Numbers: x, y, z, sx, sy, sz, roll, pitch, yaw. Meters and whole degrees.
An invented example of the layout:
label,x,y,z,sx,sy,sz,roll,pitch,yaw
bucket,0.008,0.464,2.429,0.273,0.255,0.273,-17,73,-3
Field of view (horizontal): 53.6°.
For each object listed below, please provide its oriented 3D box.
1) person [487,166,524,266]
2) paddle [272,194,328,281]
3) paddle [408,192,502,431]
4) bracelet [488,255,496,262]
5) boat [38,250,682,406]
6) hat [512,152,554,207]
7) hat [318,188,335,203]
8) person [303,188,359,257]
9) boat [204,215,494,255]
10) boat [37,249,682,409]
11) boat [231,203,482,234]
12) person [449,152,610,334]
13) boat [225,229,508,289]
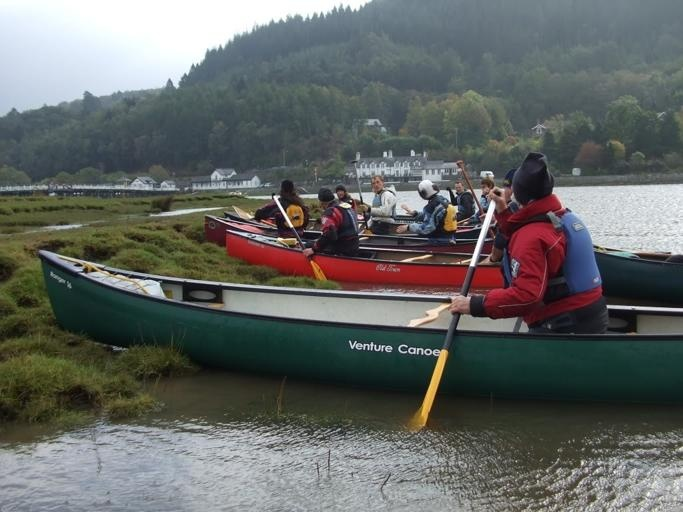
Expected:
label,x,y,z,sx,sy,sz,roll,pitch,yaw
person,1.595,-0.330,6.622,0.260,1.232,0.278,12,44,26
paddle,-0.736,-0.282,11.498,0.279,0.174,2.492,-12,43,-28
paddle,1.218,0.563,6.051,0.096,2.186,0.811,27,-4,-8
bracelet,1.568,0.033,7.019,0.058,0.070,0.029,-16,1,-10
boat,0.242,0.766,6.781,6.139,0.872,1.211,3,4,16
hat,1.524,-0.621,5.375,0.312,0.428,0.266,2,7,13
hat,-0.250,-0.932,10.405,0.194,0.172,0.261,-26,13,-30
person,-0.149,-0.412,10.814,0.938,1.367,1.004,-5,8,-14
boat,0.073,-0.349,11.778,3.850,0.490,0.727,3,9,11
boat,0.231,0.774,6.784,6.309,0.909,1.248,3,4,17
boat,0.355,-0.698,12.851,5.965,0.721,1.178,2,6,11
person,1.638,-0.070,5.580,1.170,1.539,0.564,-3,8,-28
boat,0.360,0.082,10.421,3.303,0.443,0.725,5,3,16
